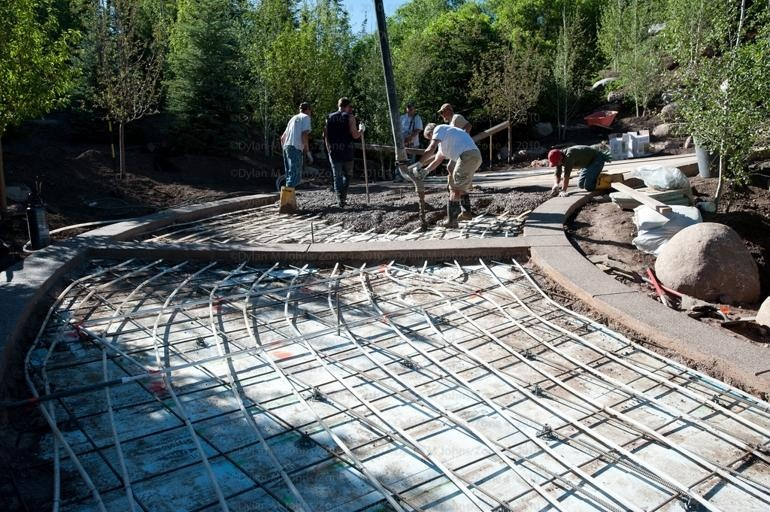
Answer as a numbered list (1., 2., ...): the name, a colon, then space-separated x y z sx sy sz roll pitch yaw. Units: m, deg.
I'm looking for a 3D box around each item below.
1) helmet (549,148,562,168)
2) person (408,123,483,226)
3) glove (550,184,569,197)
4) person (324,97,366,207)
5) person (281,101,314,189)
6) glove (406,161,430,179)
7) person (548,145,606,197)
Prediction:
1. helmet: 3.025 -1.685 8.344 0.203 0.279 0.459 7 16 22
2. person: 1.004 -1.241 7.514 0.908 1.556 0.625 13 22 36
3. glove: 3.219 -1.142 8.735 0.248 0.271 0.104 -6 25 5
4. person: -0.823 -1.985 9.286 0.698 2.070 1.013 -2 18 -6
5. person: -1.772 -2.119 9.362 0.606 1.666 1.200 -4 17 -10
6. glove: 0.525 -1.341 7.666 0.428 0.144 0.307 4 16 35
7. person: 3.506 -1.589 8.688 1.259 0.756 0.494 -18 19 -13
